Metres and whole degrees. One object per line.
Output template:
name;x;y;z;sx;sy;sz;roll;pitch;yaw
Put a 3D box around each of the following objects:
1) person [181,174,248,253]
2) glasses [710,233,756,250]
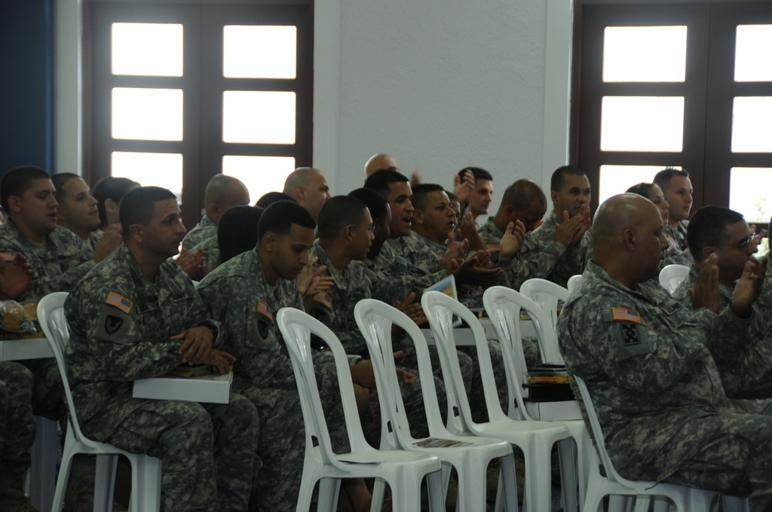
person;-1.307;-0.392;6.395;0.526;0.582;0.824;-5;8;3
glasses;1.895;-0.063;4.539;0.156;0.053;0.157;0;-18;-45
